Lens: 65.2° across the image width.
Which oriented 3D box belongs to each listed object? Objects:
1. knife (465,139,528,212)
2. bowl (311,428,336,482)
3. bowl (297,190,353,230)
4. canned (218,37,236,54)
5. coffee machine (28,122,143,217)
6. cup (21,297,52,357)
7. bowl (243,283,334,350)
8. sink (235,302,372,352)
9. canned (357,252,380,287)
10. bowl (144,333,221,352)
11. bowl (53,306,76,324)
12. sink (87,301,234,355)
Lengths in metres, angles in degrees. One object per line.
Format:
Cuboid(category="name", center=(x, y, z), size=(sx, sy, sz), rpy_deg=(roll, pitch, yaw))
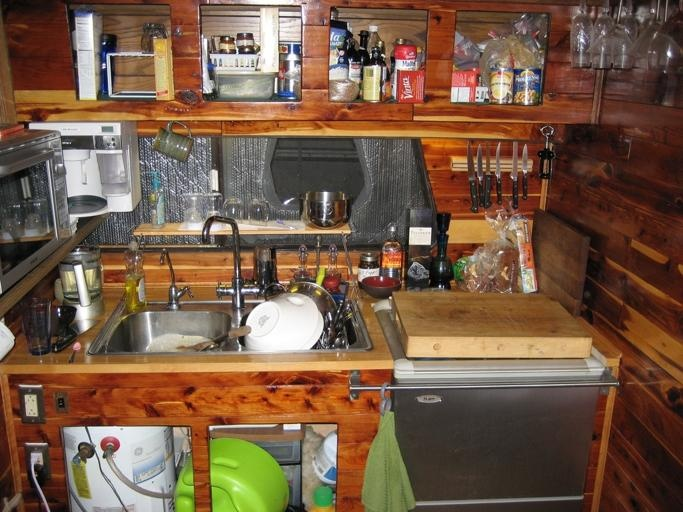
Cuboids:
Cuboid(category="knife", center=(0.773, -0.421, 2.689), size=(0.383, 0.418, 0.041), rpy_deg=(-6, 8, -20))
Cuboid(category="bowl", center=(-0.076, 0.920, 2.423), size=(0.117, 0.234, 0.094), rpy_deg=(-4, 16, -4))
Cuboid(category="bowl", center=(-0.066, -0.240, 2.592), size=(0.222, 0.137, 0.207), rpy_deg=(1, 11, 0))
Cuboid(category="canned", center=(-0.494, -0.916, 2.315), size=(0.087, 0.080, 0.079), rpy_deg=(0, 20, -8))
Cuboid(category="coffee machine", center=(-1.000, -0.392, 2.418), size=(0.592, 0.495, 0.402), rpy_deg=(-1, 11, -8))
Cuboid(category="cup", center=(-1.166, 0.273, 2.064), size=(0.076, 0.220, 0.080), rpy_deg=(-3, 16, 1))
Cuboid(category="bowl", center=(-0.248, 0.277, 2.231), size=(0.325, 0.174, 0.263), rpy_deg=(-6, 14, -13))
Cuboid(category="sink", center=(-0.141, 0.331, 2.275), size=(0.411, 0.146, 0.246), rpy_deg=(-4, 47, -8))
Cuboid(category="canned", center=(0.167, 0.070, 2.694), size=(0.159, 0.206, 0.147), rpy_deg=(2, 6, 4))
Cuboid(category="bowl", center=(-0.734, 0.371, 2.408), size=(0.203, 0.037, 0.141), rpy_deg=(1, 22, -21))
Cuboid(category="bowl", center=(-1.124, 0.239, 2.168), size=(0.073, 0.052, 0.077), rpy_deg=(1, 0, 0))
Cuboid(category="sink", center=(-0.829, 0.317, 2.389), size=(0.447, 0.168, 0.244), rpy_deg=(1, 37, -10))
